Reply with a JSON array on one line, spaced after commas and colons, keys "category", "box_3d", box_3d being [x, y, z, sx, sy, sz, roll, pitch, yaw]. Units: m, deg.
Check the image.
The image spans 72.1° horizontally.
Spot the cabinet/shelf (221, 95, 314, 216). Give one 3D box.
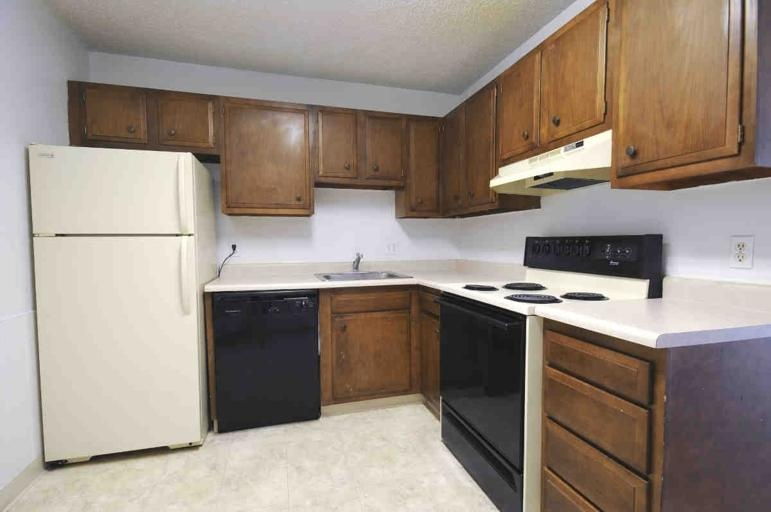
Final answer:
[{"category": "cabinet/shelf", "box_3d": [-0.921, -0.762, 4.157, 0.650, 0.850, 0.291, -1, 12, -17]}]

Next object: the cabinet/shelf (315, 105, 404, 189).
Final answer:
[{"category": "cabinet/shelf", "box_3d": [-0.224, -0.857, 4.345, 0.745, 0.605, 0.286, 1, -4, -11]}]

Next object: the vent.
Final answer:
[{"category": "vent", "box_3d": [1.087, -0.561, 3.322, 0.499, 0.301, 0.844, -2, 2, -31]}]

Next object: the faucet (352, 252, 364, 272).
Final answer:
[{"category": "faucet", "box_3d": [-0.236, 0.051, 4.505, 0.090, 0.164, 0.129, -1, 3, -1]}]

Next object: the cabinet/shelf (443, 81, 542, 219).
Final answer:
[{"category": "cabinet/shelf", "box_3d": [0.780, -0.750, 4.114, 0.367, 0.914, 1.005, -1, 0, -18]}]

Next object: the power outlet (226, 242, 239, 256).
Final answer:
[{"category": "power outlet", "box_3d": [-1.231, -0.056, 4.256, 0.095, 0.098, 0.024, 2, 11, -10]}]

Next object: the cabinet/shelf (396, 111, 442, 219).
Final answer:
[{"category": "cabinet/shelf", "box_3d": [0.313, -0.707, 4.548, 0.319, 0.847, 0.404, 0, -8, 5]}]

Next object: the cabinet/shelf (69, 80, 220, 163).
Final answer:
[{"category": "cabinet/shelf", "box_3d": [-1.702, -0.752, 3.811, 0.909, 0.513, 0.466, 1, 1, -20]}]
